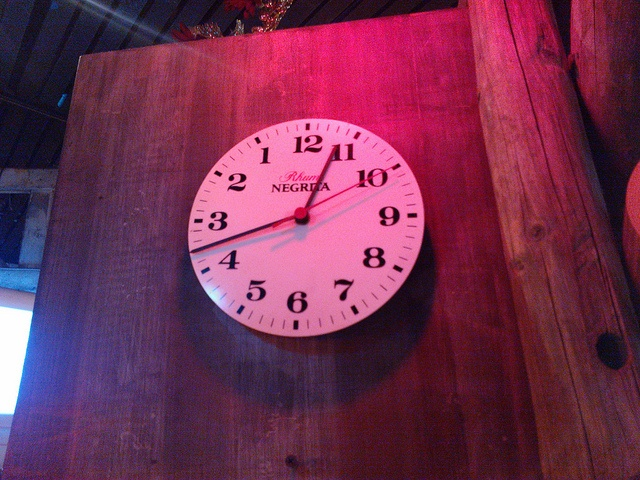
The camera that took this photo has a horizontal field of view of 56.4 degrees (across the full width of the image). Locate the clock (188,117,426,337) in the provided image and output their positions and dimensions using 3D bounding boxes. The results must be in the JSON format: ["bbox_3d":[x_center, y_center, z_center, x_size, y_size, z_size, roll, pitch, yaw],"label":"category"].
[{"bbox_3d":[-0.033,-0.020,2.169,0.677,0.068,0.784,-5,68,5],"label":"clock"}]
